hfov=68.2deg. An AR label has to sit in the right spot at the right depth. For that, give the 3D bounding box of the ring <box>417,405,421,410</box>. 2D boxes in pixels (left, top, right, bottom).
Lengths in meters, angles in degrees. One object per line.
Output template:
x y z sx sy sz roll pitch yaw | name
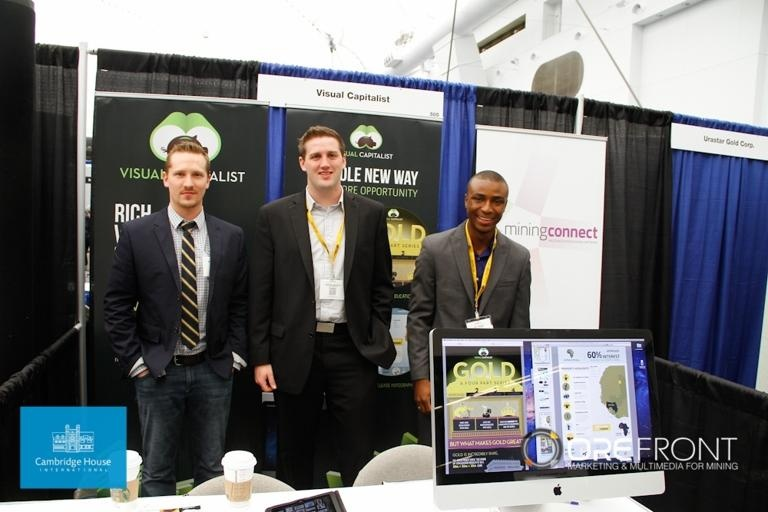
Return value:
0.236 1.019 3.814 0.006 0.023 0.024 -5 9 -31 | ring

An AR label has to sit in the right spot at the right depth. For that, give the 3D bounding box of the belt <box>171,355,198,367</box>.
-1.290 0.678 3.696 0.167 0.078 0.019 0 2 -19 | belt

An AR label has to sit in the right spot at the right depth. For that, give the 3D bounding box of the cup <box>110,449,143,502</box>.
-1.264 1.063 2.769 0.134 0.266 0.123 1 2 0 | cup

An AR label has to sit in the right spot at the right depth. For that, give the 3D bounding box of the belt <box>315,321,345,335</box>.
-0.350 0.478 3.806 0.202 0.092 0.027 0 2 -9 | belt

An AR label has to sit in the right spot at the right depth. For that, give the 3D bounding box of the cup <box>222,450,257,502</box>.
-0.734 1.102 2.863 0.147 0.273 0.186 0 2 -13 | cup

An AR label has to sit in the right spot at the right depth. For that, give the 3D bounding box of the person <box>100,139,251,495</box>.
-1.367 0.385 3.757 0.900 2.370 0.303 0 2 -13 | person

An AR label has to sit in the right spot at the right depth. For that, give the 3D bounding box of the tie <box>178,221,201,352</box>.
-1.278 0.187 3.729 0.121 0.840 0.133 0 2 -20 | tie

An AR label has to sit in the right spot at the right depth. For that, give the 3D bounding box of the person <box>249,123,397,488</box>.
-0.415 0.347 3.874 0.972 2.482 0.339 1 2 3 | person
